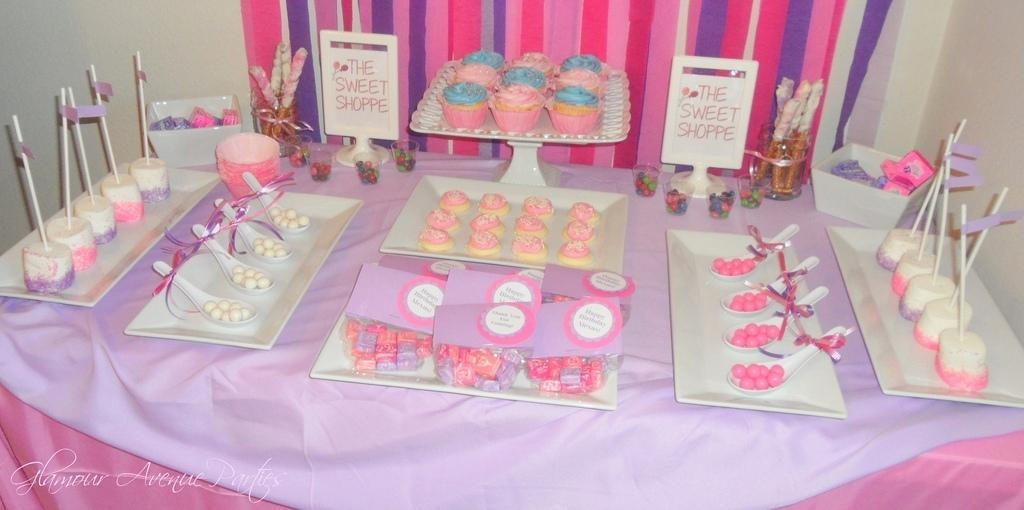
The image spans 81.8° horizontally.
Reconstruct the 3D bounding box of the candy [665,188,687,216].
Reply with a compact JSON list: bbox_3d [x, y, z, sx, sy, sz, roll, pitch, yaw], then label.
[{"bbox_3d":[0.865,-0.289,3.148,0.130,0.097,0.129,-1,26,4],"label":"candy"}]

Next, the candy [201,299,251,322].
[{"bbox_3d":[-1.247,0.226,2.583,0.160,0.043,0.111,-4,22,-37],"label":"candy"}]

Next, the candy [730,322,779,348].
[{"bbox_3d":[1.059,0.345,2.551,0.111,0.056,0.174,10,20,41],"label":"candy"}]

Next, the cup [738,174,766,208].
[{"bbox_3d":[1.283,-0.350,3.210,0.165,0.134,0.158,-2,31,1],"label":"cup"}]

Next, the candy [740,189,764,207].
[{"bbox_3d":[1.291,-0.307,3.168,0.112,0.070,0.102,0,26,3],"label":"candy"}]

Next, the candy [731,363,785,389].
[{"bbox_3d":[1.025,0.477,2.435,0.147,0.048,0.129,-14,25,-29],"label":"candy"}]

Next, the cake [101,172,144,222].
[{"bbox_3d":[-1.950,-0.247,2.948,0.160,0.152,0.164,-15,14,-21],"label":"cake"}]

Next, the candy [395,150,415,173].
[{"bbox_3d":[-0.614,-0.544,3.408,0.131,0.090,0.115,-14,27,-33],"label":"candy"}]

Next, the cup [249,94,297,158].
[{"bbox_3d":[-1.344,-0.778,3.465,0.230,0.307,0.216,-7,6,1],"label":"cup"}]

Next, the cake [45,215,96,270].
[{"bbox_3d":[-2.061,-0.044,2.723,0.182,0.180,0.188,20,21,19],"label":"cake"}]

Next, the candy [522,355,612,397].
[{"bbox_3d":[0.222,0.490,2.443,0.340,0.127,0.103,3,27,1],"label":"candy"}]

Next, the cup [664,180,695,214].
[{"bbox_3d":[0.887,-0.291,3.192,0.174,0.123,0.142,10,17,19],"label":"cup"}]

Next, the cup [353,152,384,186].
[{"bbox_3d":[-0.808,-0.490,3.354,0.183,0.139,0.185,0,23,0],"label":"cup"}]

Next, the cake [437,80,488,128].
[{"bbox_3d":[-0.237,-0.790,3.189,0.260,0.176,0.251,17,36,24],"label":"cake"}]

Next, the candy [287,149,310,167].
[{"bbox_3d":[-1.211,-0.550,3.355,0.106,0.078,0.107,21,28,40],"label":"candy"}]

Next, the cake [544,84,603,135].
[{"bbox_3d":[0.348,-0.782,3.152,0.277,0.182,0.280,14,22,36],"label":"cake"}]

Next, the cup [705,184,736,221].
[{"bbox_3d":[1.112,-0.284,3.143,0.164,0.124,0.164,-2,26,1],"label":"cup"}]

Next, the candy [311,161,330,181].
[{"bbox_3d":[-1.061,-0.470,3.347,0.119,0.100,0.108,0,28,-1],"label":"candy"}]

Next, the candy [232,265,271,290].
[{"bbox_3d":[-1.197,0.106,2.693,0.120,0.039,0.136,20,14,10],"label":"candy"}]

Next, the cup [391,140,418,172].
[{"bbox_3d":[-0.598,-0.570,3.390,0.179,0.143,0.183,0,19,0],"label":"cup"}]

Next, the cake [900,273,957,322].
[{"bbox_3d":[1.839,0.168,2.615,0.219,0.126,0.214,4,42,36],"label":"cake"}]

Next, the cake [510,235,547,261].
[{"bbox_3d":[0.084,-0.035,2.864,0.142,0.053,0.128,2,29,0],"label":"cake"}]

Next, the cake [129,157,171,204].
[{"bbox_3d":[-1.931,-0.392,3.053,0.227,0.225,0.234,10,11,43],"label":"cake"}]

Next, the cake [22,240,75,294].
[{"bbox_3d":[-2.111,0.051,2.677,0.200,0.181,0.191,4,23,-29],"label":"cake"}]

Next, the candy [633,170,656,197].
[{"bbox_3d":[0.742,-0.396,3.316,0.141,0.131,0.141,6,35,14],"label":"candy"}]

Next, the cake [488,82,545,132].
[{"bbox_3d":[0.018,-0.749,3.184,0.249,0.161,0.230,-2,17,0],"label":"cake"}]

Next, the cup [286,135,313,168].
[{"bbox_3d":[-1.205,-0.594,3.450,0.183,0.144,0.185,2,31,-1],"label":"cup"}]

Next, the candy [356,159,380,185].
[{"bbox_3d":[-0.798,-0.460,3.261,0.130,0.099,0.134,5,15,17],"label":"candy"}]

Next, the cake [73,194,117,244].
[{"bbox_3d":[-1.971,-0.165,2.782,0.163,0.164,0.149,25,40,2],"label":"cake"}]

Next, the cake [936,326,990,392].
[{"bbox_3d":[1.902,0.430,2.486,0.200,0.075,0.257,1,28,26],"label":"cake"}]

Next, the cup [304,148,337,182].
[{"bbox_3d":[-1.081,-0.525,3.364,0.182,0.170,0.180,2,29,-1],"label":"cup"}]

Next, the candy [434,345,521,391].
[{"bbox_3d":[-0.144,0.440,2.420,0.326,0.073,0.167,3,52,1],"label":"candy"}]

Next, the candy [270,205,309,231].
[{"bbox_3d":[-1.112,-0.177,2.950,0.125,0.069,0.163,-11,31,-28],"label":"candy"}]

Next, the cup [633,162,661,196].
[{"bbox_3d":[0.763,-0.438,3.312,0.174,0.174,0.177,-1,27,0],"label":"cup"}]
